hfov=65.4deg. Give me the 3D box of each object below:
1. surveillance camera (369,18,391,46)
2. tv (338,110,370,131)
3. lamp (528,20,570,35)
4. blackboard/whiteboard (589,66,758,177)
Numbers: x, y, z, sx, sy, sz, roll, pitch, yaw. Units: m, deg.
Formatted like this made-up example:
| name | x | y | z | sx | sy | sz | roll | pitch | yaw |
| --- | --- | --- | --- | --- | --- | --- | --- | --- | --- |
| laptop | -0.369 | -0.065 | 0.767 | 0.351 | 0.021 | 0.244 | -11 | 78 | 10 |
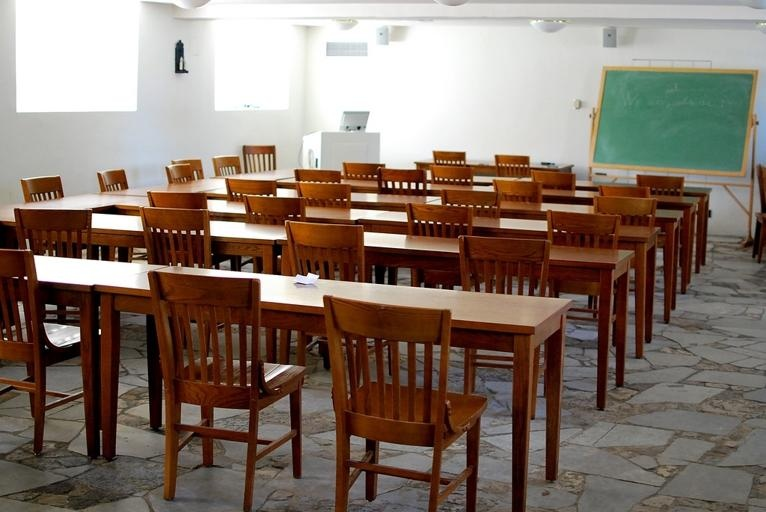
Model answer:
| name | x | y | z | sx | sy | sz | roll | pitch | yaw |
| --- | --- | --- | --- | --- | --- | --- | --- | --- | --- |
| surveillance camera | 0.006 | -4.344 | 11.707 | 0.334 | 0.387 | 0.261 | -2 | 15 | -2 |
| tv | -0.459 | -2.182 | 9.654 | 0.469 | 0.317 | 0.290 | -3 | 15 | -5 |
| lamp | 2.595 | -3.605 | 9.299 | 0.488 | 0.169 | 0.275 | 2 | 15 | 11 |
| blackboard/whiteboard | 5.019 | -2.265 | 10.044 | 2.800 | 1.595 | 0.092 | 5 | -5 | 19 |
